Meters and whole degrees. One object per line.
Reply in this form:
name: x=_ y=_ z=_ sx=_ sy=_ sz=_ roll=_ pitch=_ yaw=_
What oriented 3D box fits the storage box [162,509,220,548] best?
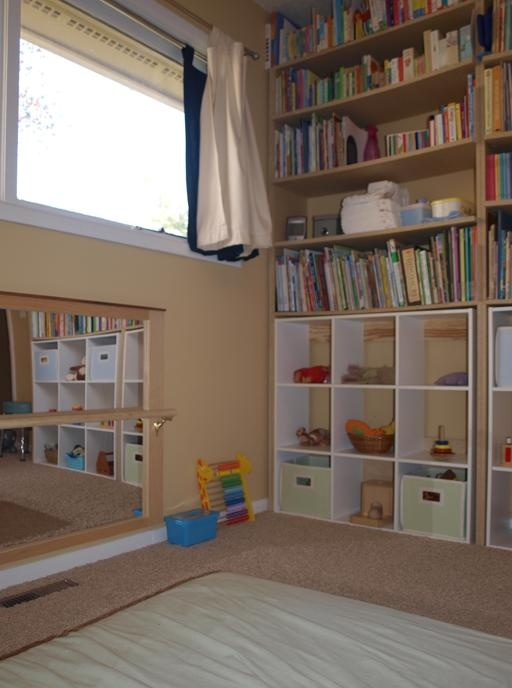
storage box: x=-0.267 y=0.786 z=2.408 sx=0.123 sy=0.106 sz=0.185 roll=-4 pitch=-6 yaw=40

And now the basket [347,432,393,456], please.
basket: x=0.560 y=0.472 z=2.734 sx=0.127 sy=0.058 sz=0.136 roll=2 pitch=-2 yaw=-30
